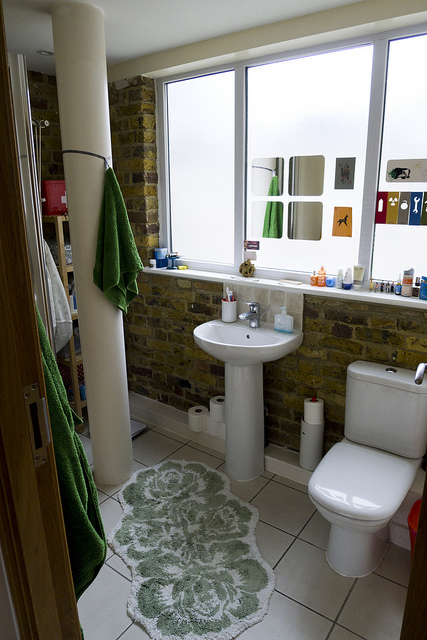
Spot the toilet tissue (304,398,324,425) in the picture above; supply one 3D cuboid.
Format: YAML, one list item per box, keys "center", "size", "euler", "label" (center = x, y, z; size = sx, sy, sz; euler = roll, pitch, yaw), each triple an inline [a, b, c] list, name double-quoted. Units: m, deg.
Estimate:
- center: [0.545, 0.505, 2.405]
  size: [0.104, 0.125, 0.114]
  euler: [-1, 12, 7]
  label: "toilet tissue"

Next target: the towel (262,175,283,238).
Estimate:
- center: [0.352, -0.674, 2.606]
  size: [0.035, 0.351, 0.140]
  euler: [-11, 16, -39]
  label: "towel"

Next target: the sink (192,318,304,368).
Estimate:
- center: [0.134, 0.183, 2.471]
  size: [0.609, 0.248, 0.416]
  euler: [11, 17, 42]
  label: "sink"

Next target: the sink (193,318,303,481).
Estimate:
- center: [0.161, 0.491, 2.534]
  size: [0.593, 0.882, 0.501]
  euler: [9, 16, 36]
  label: "sink"

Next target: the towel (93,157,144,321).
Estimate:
- center: [-0.493, -0.431, 2.277]
  size: [0.153, 0.786, 0.291]
  euler: [7, 15, 31]
  label: "towel"

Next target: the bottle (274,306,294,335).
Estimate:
- center: [0.398, 0.003, 2.455]
  size: [0.114, 0.179, 0.060]
  euler: [10, 16, 43]
  label: "bottle"

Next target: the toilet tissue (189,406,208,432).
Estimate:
- center: [-0.104, 0.655, 2.964]
  size: [0.120, 0.109, 0.132]
  euler: [-6, 14, -20]
  label: "toilet tissue"

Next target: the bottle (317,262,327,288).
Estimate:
- center: [0.604, -0.252, 2.431]
  size: [0.052, 0.113, 0.158]
  euler: [2, 14, 13]
  label: "bottle"

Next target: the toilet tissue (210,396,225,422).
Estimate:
- center: [0.026, 0.569, 2.863]
  size: [0.118, 0.150, 0.129]
  euler: [-2, 12, 0]
  label: "toilet tissue"

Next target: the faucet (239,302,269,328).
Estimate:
- center: [0.232, -0.031, 2.559]
  size: [0.083, 0.175, 0.155]
  euler: [5, 9, 34]
  label: "faucet"
